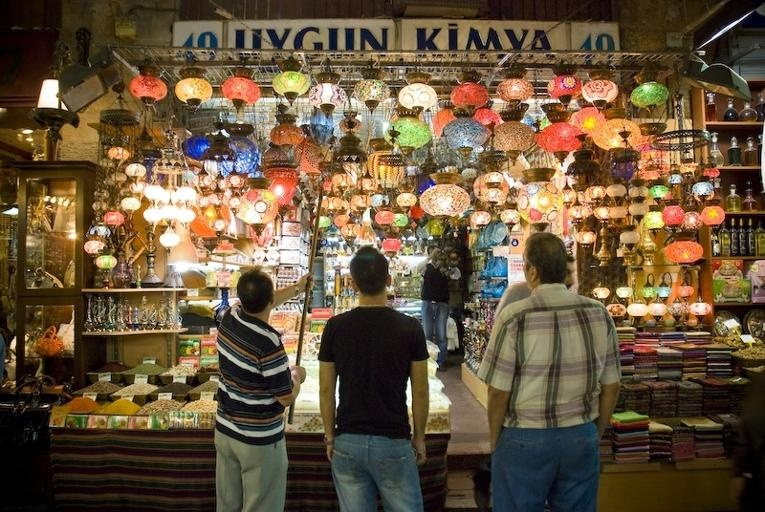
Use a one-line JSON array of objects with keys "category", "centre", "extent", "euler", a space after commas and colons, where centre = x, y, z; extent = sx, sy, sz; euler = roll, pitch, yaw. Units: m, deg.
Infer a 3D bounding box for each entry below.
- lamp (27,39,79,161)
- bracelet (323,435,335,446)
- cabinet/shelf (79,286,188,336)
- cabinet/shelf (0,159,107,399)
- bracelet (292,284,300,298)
[{"category": "lamp", "centre": [-3.564, -1.636, 8.002], "extent": [0.480, 1.083, 0.467], "euler": [-2, 3, -11]}, {"category": "bracelet", "centre": [-0.416, 1.454, 5.850], "extent": [0.115, 0.105, 0.137], "euler": [1, -13, -1]}, {"category": "cabinet/shelf", "centre": [-2.654, 0.579, 7.815], "extent": [0.887, 0.469, 0.417], "euler": [1, -2, -28]}, {"category": "cabinet/shelf", "centre": [-3.386, 0.167, 7.593], "extent": [0.775, 2.308, 0.264], "euler": [1, -3, -1]}, {"category": "bracelet", "centre": [-0.775, 0.304, 6.653], "extent": [0.080, 0.092, 0.039], "euler": [-1, 22, -3]}]
